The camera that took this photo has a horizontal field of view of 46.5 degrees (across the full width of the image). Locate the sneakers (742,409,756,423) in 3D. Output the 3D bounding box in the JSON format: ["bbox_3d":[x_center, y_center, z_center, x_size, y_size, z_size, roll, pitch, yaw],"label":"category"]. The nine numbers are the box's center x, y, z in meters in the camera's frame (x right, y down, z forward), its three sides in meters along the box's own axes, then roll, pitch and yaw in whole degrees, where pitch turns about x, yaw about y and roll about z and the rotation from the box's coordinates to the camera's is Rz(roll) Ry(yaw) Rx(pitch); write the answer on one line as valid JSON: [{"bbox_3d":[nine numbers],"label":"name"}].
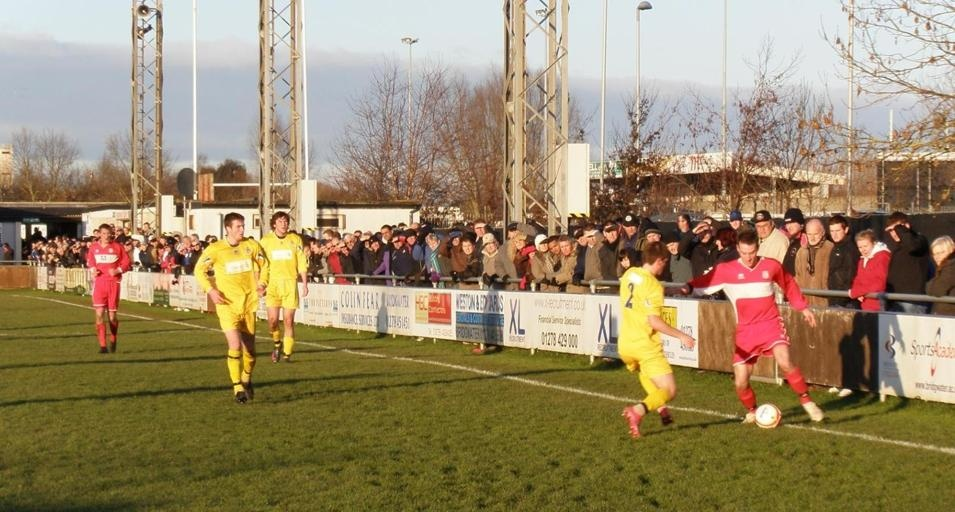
[{"bbox_3d":[5.974,3.482,24.262,0.116,0.306,0.225,32,-20,-14],"label":"sneakers"}]

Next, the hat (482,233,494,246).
[{"bbox_3d":[0.313,-0.464,30.674,0.336,0.322,0.310,1,4,7],"label":"hat"}]

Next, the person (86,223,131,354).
[{"bbox_3d":[-10.167,0.829,30.590,1.217,3.347,0.981,4,5,41],"label":"person"}]

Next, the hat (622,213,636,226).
[{"bbox_3d":[4.058,-0.940,29.133,0.338,0.310,0.384,0,4,-3],"label":"hat"}]

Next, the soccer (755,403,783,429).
[{"bbox_3d":[6.338,3.435,23.986,0.531,0.452,0.407,-19,6,-18],"label":"soccer"}]

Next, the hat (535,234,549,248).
[{"bbox_3d":[1.740,-0.379,30.336,0.269,0.363,0.334,-6,40,-25],"label":"hat"}]

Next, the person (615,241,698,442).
[{"bbox_3d":[3.675,1.767,23.769,1.243,4.099,0.827,1,4,8],"label":"person"}]

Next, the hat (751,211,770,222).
[{"bbox_3d":[6.878,-0.943,26.724,0.350,0.274,0.389,1,4,5],"label":"hat"}]
